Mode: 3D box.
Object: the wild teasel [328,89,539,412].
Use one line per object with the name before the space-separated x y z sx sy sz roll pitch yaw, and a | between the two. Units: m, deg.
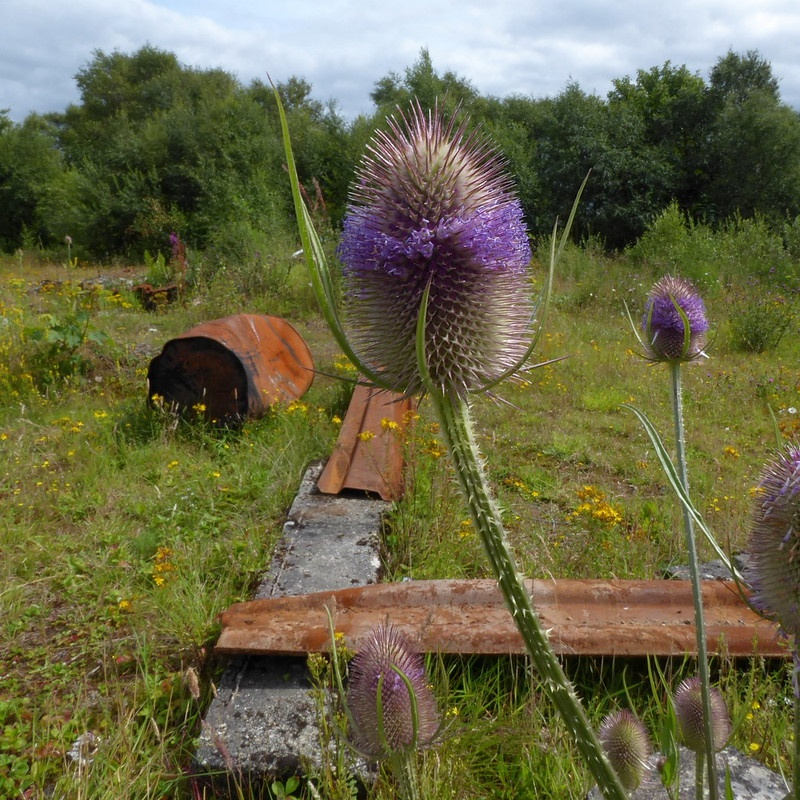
wild teasel | 0.134 -0.470 2.492 0.665 0.850 0.562 3 18 3
